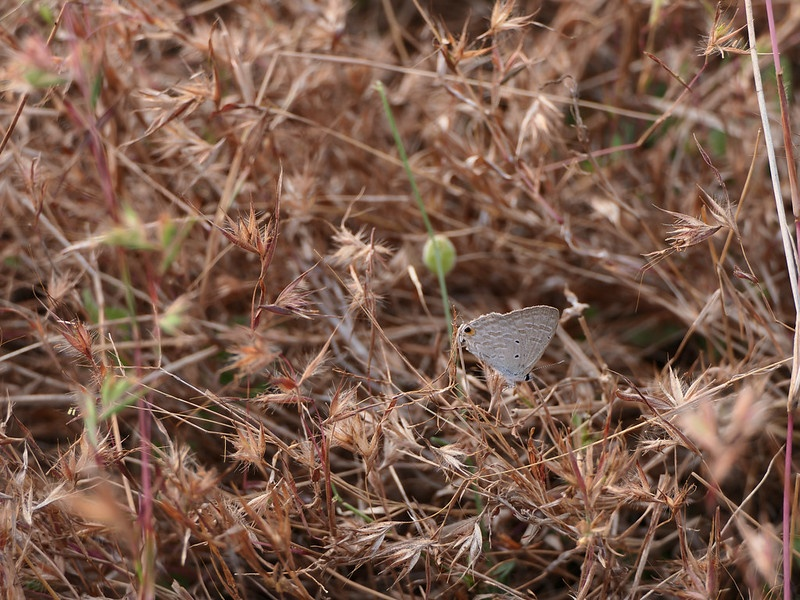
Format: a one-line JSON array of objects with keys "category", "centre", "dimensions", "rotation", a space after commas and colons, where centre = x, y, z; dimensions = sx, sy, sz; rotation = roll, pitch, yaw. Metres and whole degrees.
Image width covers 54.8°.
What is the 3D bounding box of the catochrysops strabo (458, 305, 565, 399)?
[{"category": "catochrysops strabo", "centre": [0.325, 0.111, 2.309], "dimensions": [0.233, 0.276, 0.173], "rotation": [43, 63, -11]}]
